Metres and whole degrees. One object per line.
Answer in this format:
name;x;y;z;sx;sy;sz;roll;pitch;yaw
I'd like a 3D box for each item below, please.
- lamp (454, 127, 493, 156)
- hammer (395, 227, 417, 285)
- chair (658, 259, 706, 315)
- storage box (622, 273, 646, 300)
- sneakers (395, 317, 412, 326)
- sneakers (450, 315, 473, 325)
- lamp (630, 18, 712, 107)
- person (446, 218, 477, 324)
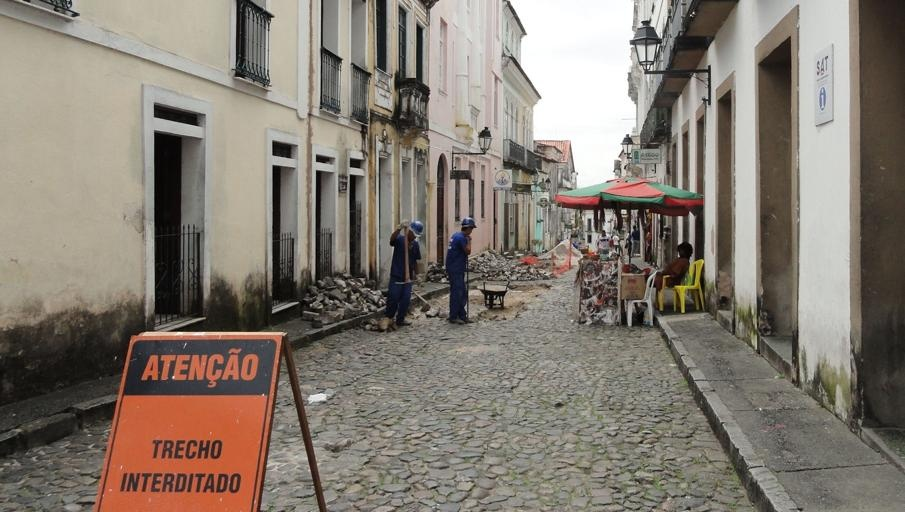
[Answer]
lamp;0.582;-4.058;25.602;1.841;1.045;1.044;-4;-1;11
hammer;-0.930;-0.026;14.999;0.245;1.196;0.470;-1;2;27
chair;5.006;0.659;15.804;1.066;1.484;1.070;1;-3;-11
storage box;3.648;0.616;14.627;0.500;0.508;0.502;1;-4;-2
sneakers;-1.025;1.364;15.080;0.255;0.253;0.132;0;2;-20
sneakers;0.178;1.358;15.372;0.490;0.214;0.164;-4;0;11
lamp;4.863;-4.324;16.220;1.937;1.933;0.760;18;38;42
person;0.158;0.301;15.684;0.580;2.205;1.045;-2;2;2
